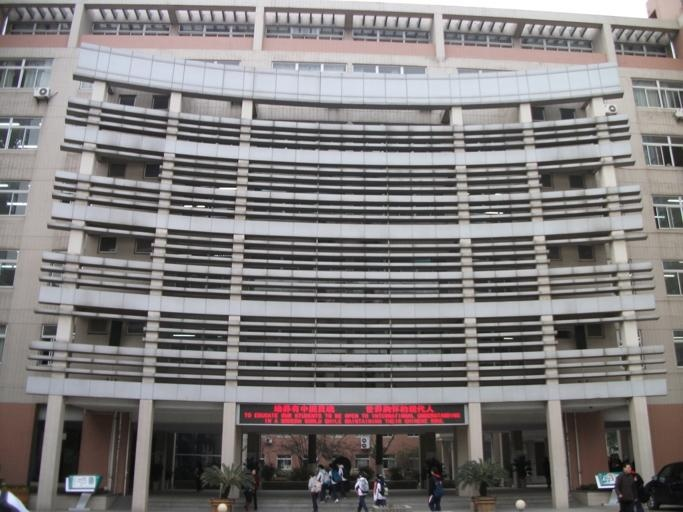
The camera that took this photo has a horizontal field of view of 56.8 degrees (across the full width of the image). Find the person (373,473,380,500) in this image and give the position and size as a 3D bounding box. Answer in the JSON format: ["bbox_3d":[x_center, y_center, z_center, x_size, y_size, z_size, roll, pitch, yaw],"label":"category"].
[{"bbox_3d":[1.540,9.916,26.814,0.271,0.962,0.480,-3,-19,6],"label":"person"}]

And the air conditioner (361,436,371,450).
[{"bbox_3d":[1.385,11.010,36.940,0.778,0.873,0.507,1,-18,0],"label":"air conditioner"}]

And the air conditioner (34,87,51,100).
[{"bbox_3d":[-17.508,-9.497,36.998,0.799,0.617,0.406,1,-28,-7],"label":"air conditioner"}]

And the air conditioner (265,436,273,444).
[{"bbox_3d":[-4.251,10.776,36.959,0.609,0.509,0.402,1,-6,2],"label":"air conditioner"}]

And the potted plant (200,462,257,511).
[{"bbox_3d":[-5.120,10.673,28.962,2.183,2.054,3.646,1,-18,-6],"label":"potted plant"}]
